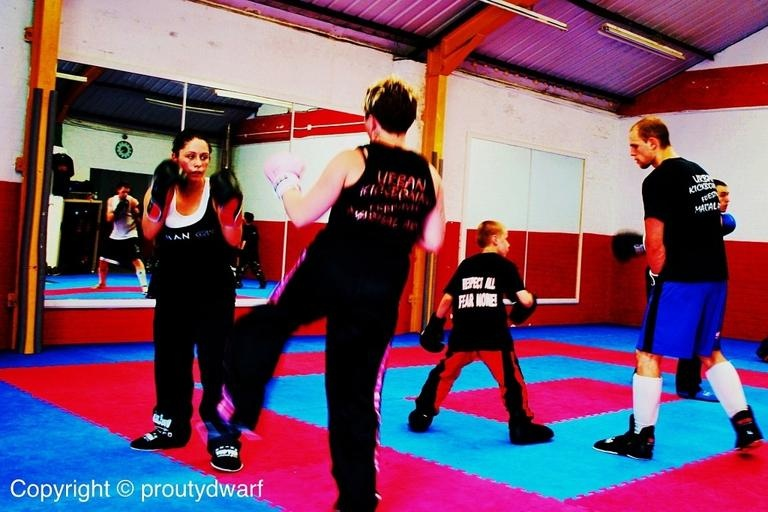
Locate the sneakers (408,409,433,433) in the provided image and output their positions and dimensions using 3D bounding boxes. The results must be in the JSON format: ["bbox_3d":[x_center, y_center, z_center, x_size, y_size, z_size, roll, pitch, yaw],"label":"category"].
[{"bbox_3d":[0.326,1.374,4.912,0.174,0.156,0.196,5,-13,-7],"label":"sneakers"}]

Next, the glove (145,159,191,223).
[{"bbox_3d":[-1.454,-0.486,3.948,0.197,0.481,0.172,13,-3,35],"label":"glove"}]

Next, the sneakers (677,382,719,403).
[{"bbox_3d":[3.462,1.485,6.422,0.448,0.201,0.156,-2,2,-4],"label":"sneakers"}]

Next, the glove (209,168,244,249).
[{"bbox_3d":[-1.023,-0.284,4.050,0.178,0.599,0.251,-12,22,-12],"label":"glove"}]

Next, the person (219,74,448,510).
[{"bbox_3d":[-0.257,0.188,3.117,0.980,1.817,0.386,3,1,15],"label":"person"}]

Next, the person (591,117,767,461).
[{"bbox_3d":[2.319,0.228,4.601,1.107,2.813,0.321,2,1,-10],"label":"person"}]

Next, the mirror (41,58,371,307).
[{"bbox_3d":[-2.834,-1.225,8.650,4.812,2.824,0.110,0,-2,-30],"label":"mirror"}]
